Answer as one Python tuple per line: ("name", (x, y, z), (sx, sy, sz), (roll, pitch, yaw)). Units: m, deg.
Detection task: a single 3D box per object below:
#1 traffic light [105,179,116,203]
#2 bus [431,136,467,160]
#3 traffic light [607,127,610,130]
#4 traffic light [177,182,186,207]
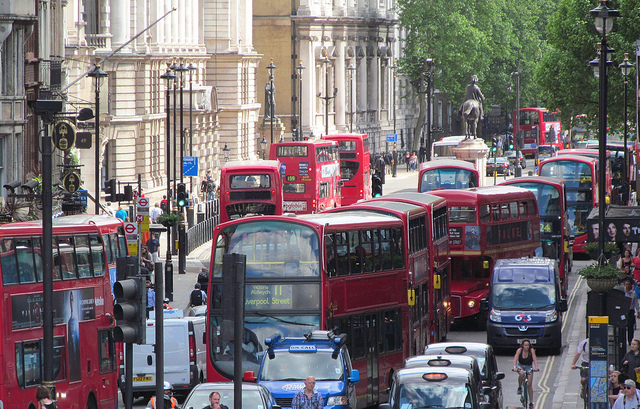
("traffic light", (-8.293, -0.441, 62.655), (0.417, 0.869, 1.186), (-4, 4, -8))
("bus", (8.894, -3.369, 110.814), (2.340, 2.259, 3.750), (-1, 4, 4))
("traffic light", (16.723, -4.370, 92.196), (0.148, 0.151, 0.154), (0, -6, 33))
("traffic light", (-6.087, -0.307, 69.294), (0.340, 0.990, 0.476), (-4, 4, -8))
